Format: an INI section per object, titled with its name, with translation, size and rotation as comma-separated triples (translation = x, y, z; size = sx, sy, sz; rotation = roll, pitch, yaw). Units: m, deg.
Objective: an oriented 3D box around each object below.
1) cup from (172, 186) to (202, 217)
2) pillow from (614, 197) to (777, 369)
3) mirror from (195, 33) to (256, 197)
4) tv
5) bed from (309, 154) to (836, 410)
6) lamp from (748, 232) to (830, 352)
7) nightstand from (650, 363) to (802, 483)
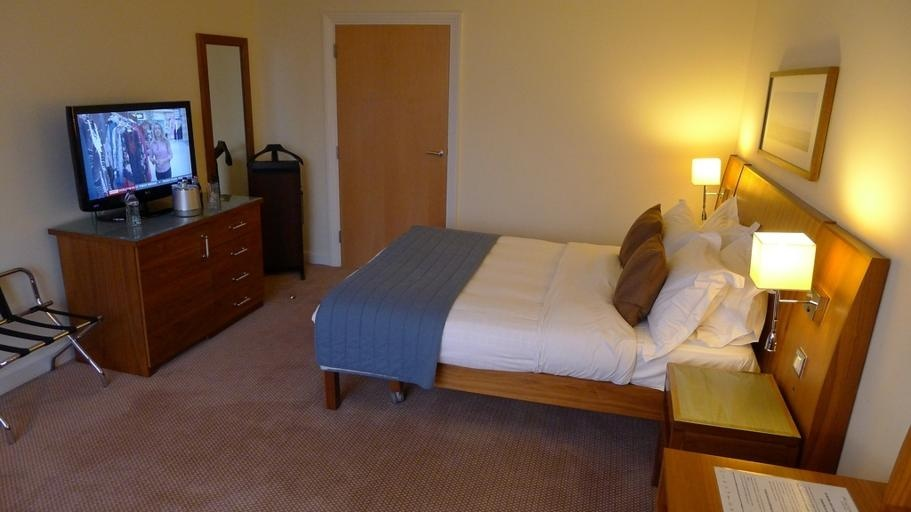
[cup]
translation = -2.471, -0.546, 5.598
size = 0.294, 0.288, 0.289
rotation = 2, 21, -1
[pillow]
translation = 2.005, 0.251, 4.668
size = 0.825, 0.902, 1.276
rotation = 14, 24, 26
[mirror]
translation = -2.466, -1.514, 6.484
size = 0.268, 1.720, 0.825
rotation = 11, 24, 20
[tv]
translation = -2.925, -0.838, 5.287
size = 0.308, 0.761, 1.043
rotation = 9, 20, 23
[bed]
translation = 1.156, 0.428, 4.899
size = 2.844, 1.213, 2.361
rotation = 2, 25, 7
[lamp]
translation = 2.278, 0.223, 4.022
size = 0.525, 0.959, 0.426
rotation = 5, 34, 19
[nightstand]
translation = 1.891, 1.072, 4.094
size = 0.649, 0.573, 0.629
rotation = 2, 27, 11
